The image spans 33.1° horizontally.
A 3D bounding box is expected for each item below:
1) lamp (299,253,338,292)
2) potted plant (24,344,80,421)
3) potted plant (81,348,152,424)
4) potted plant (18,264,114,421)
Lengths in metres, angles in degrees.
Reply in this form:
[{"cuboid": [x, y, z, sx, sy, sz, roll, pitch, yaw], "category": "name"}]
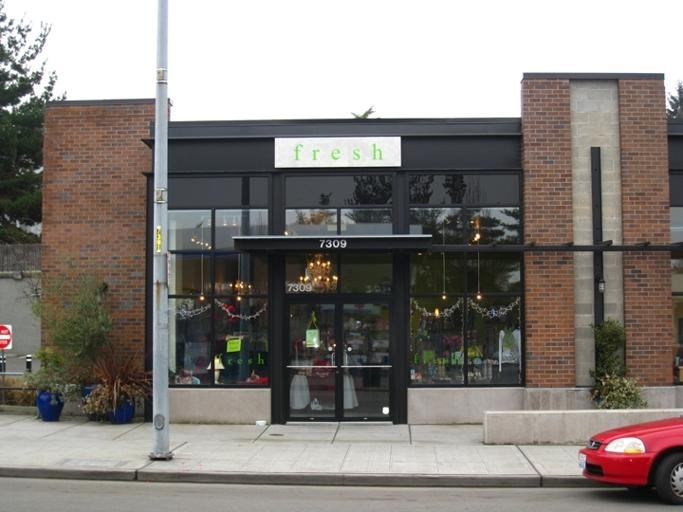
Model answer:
[{"cuboid": [-0.646, 0.476, 30.748, 0.968, 1.399, 0.999, 1, -1, 34], "category": "lamp"}, {"cuboid": [-7.635, 3.417, 31.032, 1.813, 2.485, 1.658, 0, -2, 4], "category": "potted plant"}, {"cuboid": [-5.869, 3.504, 30.182, 1.453, 1.789, 1.535, -3, 0, 14], "category": "potted plant"}, {"cuboid": [-7.452, 2.347, 31.153, 2.393, 3.438, 2.244, -6, -12, 3], "category": "potted plant"}]
